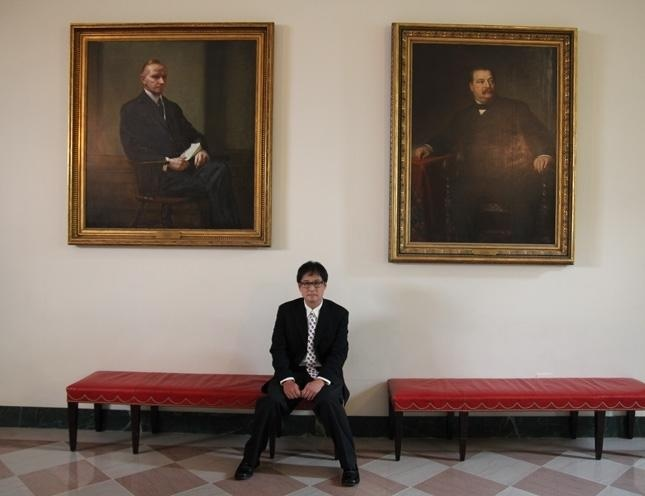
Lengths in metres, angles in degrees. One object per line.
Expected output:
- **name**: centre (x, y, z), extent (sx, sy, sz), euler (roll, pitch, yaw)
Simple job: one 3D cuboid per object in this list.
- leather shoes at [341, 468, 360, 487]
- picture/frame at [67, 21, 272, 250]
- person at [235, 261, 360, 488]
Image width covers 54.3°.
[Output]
- **leather shoes**: centre (0.264, 2.154, 5.887), extent (0.194, 0.112, 0.120), euler (-2, 12, -11)
- **picture/frame**: centre (-1.599, -1.249, 6.866), extent (2.330, 2.612, 0.175), euler (1, 0, 5)
- **person**: centre (-0.143, 1.140, 6.296), extent (1.059, 1.918, 1.114), euler (1, 11, 3)
